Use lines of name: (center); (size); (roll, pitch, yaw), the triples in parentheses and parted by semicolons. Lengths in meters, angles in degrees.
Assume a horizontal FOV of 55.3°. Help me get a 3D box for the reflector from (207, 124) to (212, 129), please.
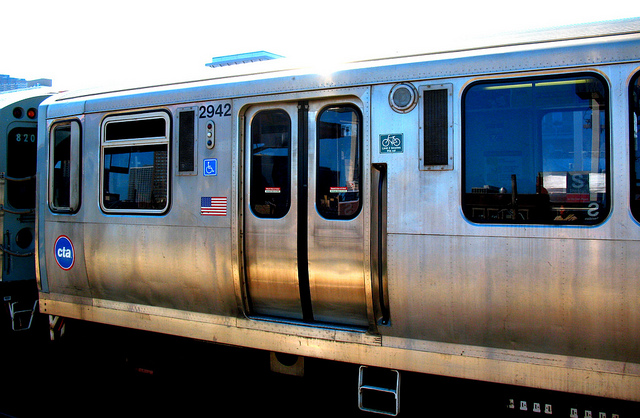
reflector: (-1.460, -1.099, 8.056); (0.065, 0.070, 0.016); (1, -1, 4)

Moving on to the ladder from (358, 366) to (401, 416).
ladder: (0.733, 2.202, 7.466); (0.614, 0.691, 0.090); (2, 2, 33)

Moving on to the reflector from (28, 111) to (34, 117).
reflector: (-4.907, -1.623, 10.339); (0.094, 0.101, 0.025); (6, -4, -23)

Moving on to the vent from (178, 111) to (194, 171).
vent: (-1.796, -0.920, 8.187); (0.241, 0.773, 0.041); (-1, 1, 22)

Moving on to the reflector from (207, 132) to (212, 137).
reflector: (-1.461, -0.989, 8.049); (0.044, 0.049, 0.047); (-2, -3, 20)
